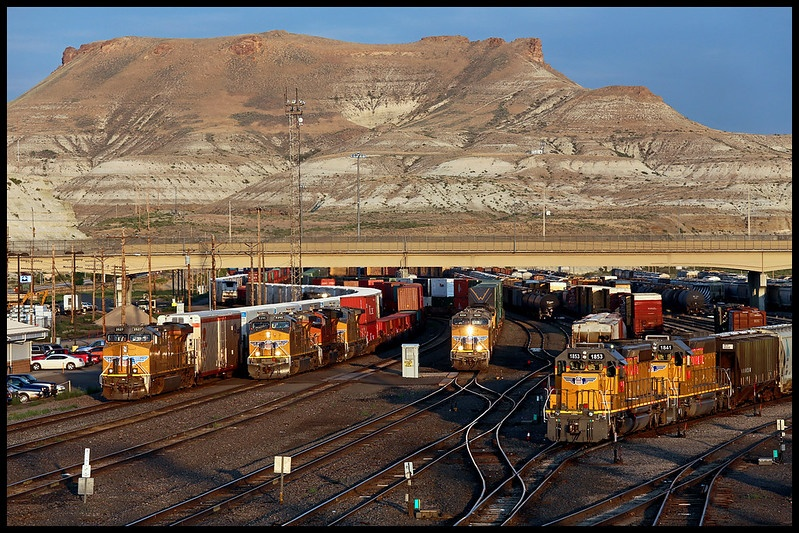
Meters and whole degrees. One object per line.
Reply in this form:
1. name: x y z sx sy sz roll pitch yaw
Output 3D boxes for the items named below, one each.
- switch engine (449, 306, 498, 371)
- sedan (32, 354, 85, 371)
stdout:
1. switch engine: 5.301 5.361 72.146 4.358 4.414 12.806 -1 2 4
2. sedan: -26.795 7.591 77.568 3.576 0.938 1.426 2 -2 1
